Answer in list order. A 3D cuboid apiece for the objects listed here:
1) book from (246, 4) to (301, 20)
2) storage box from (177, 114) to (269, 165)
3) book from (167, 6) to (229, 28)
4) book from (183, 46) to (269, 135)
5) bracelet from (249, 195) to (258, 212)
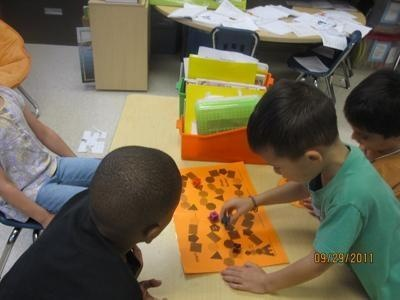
[{"bbox_3d":[0.738,-1.428,3.097,0.325,0.091,0.325,-13,36,-24],"label":"book"},{"bbox_3d":[0.083,-0.032,1.330,0.332,0.136,0.205,-1,36,-3],"label":"storage box"},{"bbox_3d":[0.001,-1.314,2.868,0.543,0.052,0.463,17,43,13],"label":"book"},{"bbox_3d":[0.106,-0.261,1.660,0.441,0.456,0.450,3,35,-1],"label":"book"},{"bbox_3d":[0.221,0.224,1.215,0.017,0.049,0.038,-16,5,-14],"label":"bracelet"}]
